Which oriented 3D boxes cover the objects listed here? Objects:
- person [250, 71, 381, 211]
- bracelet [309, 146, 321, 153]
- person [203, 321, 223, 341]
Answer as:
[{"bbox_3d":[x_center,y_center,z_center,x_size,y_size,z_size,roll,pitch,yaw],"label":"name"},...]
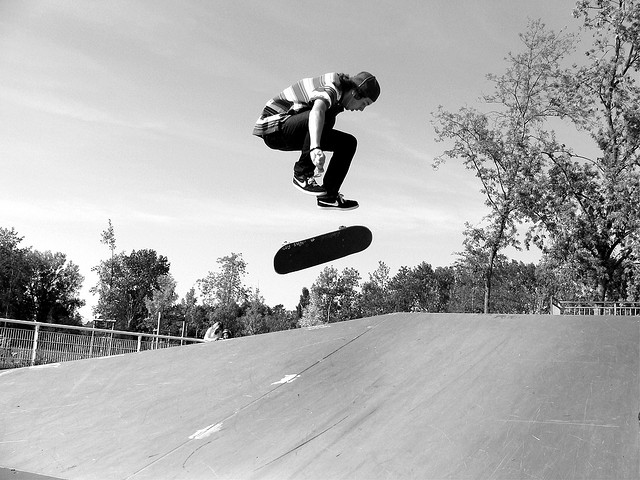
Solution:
[{"bbox_3d":[-0.046,-1.132,5.012,1.160,1.385,1.090,5,-9,-22],"label":"person"},{"bbox_3d":[-0.051,-0.935,4.513,0.108,0.047,0.054,-2,-10,20],"label":"bracelet"},{"bbox_3d":[-1.983,1.698,8.259,0.278,0.292,0.913,3,-10,-12],"label":"person"}]
